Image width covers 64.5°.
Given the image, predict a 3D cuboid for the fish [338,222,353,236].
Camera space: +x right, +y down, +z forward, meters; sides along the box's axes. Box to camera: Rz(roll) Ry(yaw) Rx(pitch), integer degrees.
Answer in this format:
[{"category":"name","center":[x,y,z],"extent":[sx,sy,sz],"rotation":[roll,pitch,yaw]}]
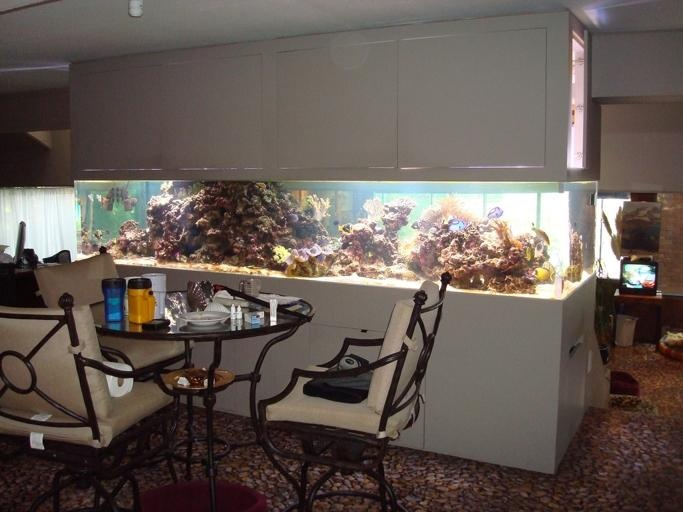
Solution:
[{"category":"fish","center":[0.032,-0.210,4.308],"extent":[0.125,0.094,0.004],"rotation":[5,11,20]}]

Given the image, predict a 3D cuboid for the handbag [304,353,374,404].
[{"category":"handbag","center":[-0.010,0.698,3.097],"extent":[0.273,0.093,0.278],"rotation":[4,22,24]}]

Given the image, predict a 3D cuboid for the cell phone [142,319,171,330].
[{"category":"cell phone","center":[-1.099,0.407,3.247],"extent":[0.071,0.033,0.099],"rotation":[3,7,15]}]

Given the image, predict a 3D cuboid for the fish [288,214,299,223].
[{"category":"fish","center":[-0.398,-0.310,4.470],"extent":[0.075,0.077,0.040],"rotation":[7,-7,19]}]

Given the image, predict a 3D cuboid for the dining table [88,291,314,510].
[{"category":"dining table","center":[-0.884,0.842,3.605],"extent":[1.097,0.926,1.214],"rotation":[0,0,-18]}]

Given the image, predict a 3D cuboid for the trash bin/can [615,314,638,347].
[{"category":"trash bin/can","center":[4.230,1.109,8.070],"extent":[0.245,0.450,0.180],"rotation":[4,11,17]}]

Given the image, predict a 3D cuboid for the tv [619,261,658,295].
[{"category":"tv","center":[4.351,0.322,7.887],"extent":[0.464,0.473,0.258],"rotation":[2,0,30]}]

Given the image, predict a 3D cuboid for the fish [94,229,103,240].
[{"category":"fish","center":[-2.348,-0.204,5.227],"extent":[0.108,0.113,0.017],"rotation":[7,12,27]}]

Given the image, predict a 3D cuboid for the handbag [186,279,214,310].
[{"category":"handbag","center":[-0.955,0.260,3.645],"extent":[0.168,0.194,0.050],"rotation":[3,-2,-8]}]

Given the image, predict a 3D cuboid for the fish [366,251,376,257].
[{"category":"fish","center":[0.226,-0.018,4.259],"extent":[0.068,0.039,0.004],"rotation":[6,11,24]}]
